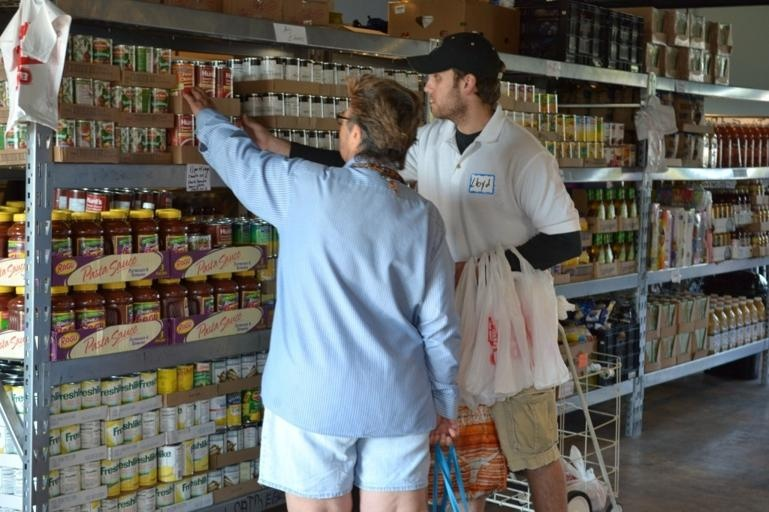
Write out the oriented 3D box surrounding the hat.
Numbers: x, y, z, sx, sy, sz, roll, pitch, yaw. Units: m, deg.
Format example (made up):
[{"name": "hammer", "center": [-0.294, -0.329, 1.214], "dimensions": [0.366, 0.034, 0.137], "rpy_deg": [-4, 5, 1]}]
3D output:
[{"name": "hat", "center": [0.348, -0.983, 3.632], "dimensions": [0.344, 0.172, 0.235], "rpy_deg": [2, 17, 4]}]
